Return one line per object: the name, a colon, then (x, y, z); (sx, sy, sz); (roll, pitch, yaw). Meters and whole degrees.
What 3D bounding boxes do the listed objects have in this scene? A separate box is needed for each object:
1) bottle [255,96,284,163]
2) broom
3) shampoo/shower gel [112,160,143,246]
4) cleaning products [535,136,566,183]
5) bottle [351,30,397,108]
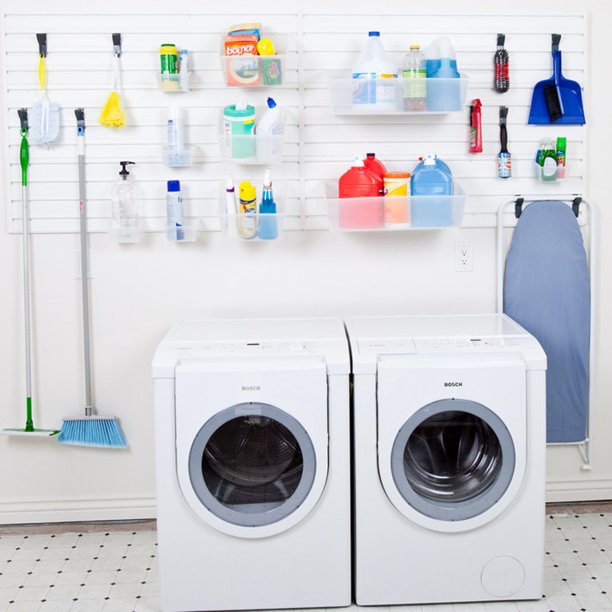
bottle: (-0.136, -0.646, 2.753); (0.088, 0.238, 0.099); (-6, 19, -39)
broom: (-0.905, -0.066, 2.896); (0.261, 1.328, 0.187); (-8, 14, -16)
shampoo/shower gel: (-0.684, -0.386, 2.870); (0.099, 0.319, 0.075); (-1, 16, -13)
cleaning products: (0.953, -0.564, 2.894); (0.113, 0.158, 0.079); (0, 14, 13)
bottle: (0.246, -0.840, 2.692); (0.159, 0.278, 0.140); (-2, 14, 8)
